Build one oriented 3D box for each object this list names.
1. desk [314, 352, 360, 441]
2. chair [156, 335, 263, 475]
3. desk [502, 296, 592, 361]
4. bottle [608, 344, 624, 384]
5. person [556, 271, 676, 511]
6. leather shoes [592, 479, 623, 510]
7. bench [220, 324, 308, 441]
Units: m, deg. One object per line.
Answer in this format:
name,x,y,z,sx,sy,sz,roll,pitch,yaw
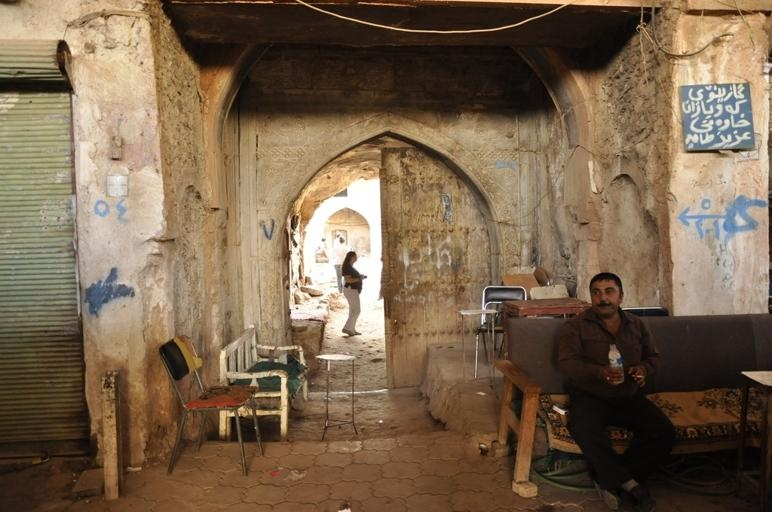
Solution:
desk,-0.606,1.861,10.036,0.644,1.061,0.678,-6,-4,15
chair,-1.783,1.536,7.893,1.067,1.228,0.893,3,1,-6
desk,1.844,0.908,8.623,0.952,0.625,0.705,-1,0,-6
bottle,2.159,1.025,6.973,0.130,0.372,0.325,-6,6,16
person,2.149,1.247,7.014,0.958,2.109,0.855,-8,6,1
leather shoes,2.041,2.200,6.885,0.141,0.100,0.299,-15,44,-24
bench,-1.480,1.580,9.565,0.880,0.946,2.030,3,2,-2
